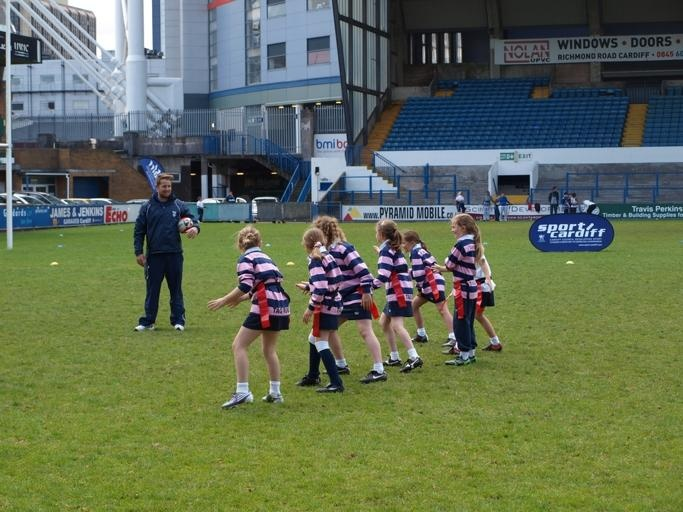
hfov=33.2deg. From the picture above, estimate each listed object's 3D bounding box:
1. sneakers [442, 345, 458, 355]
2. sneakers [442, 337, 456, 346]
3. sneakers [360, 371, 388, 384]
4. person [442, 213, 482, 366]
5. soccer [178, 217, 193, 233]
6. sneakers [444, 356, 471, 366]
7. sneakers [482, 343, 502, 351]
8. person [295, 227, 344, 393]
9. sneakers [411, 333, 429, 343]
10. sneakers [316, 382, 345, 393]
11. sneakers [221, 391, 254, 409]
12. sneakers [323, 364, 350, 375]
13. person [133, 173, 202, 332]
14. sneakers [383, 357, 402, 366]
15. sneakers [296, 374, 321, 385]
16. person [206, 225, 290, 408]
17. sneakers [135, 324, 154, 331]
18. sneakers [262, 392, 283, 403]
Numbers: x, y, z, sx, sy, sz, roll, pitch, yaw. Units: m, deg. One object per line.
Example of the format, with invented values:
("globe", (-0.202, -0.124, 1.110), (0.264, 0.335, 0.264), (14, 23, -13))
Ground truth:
("sneakers", (1.906, 1.643, 19.866), (0.337, 0.141, 0.114), (2, -2, 19))
("sneakers", (1.893, 1.522, 20.087), (0.262, 0.110, 0.090), (2, -2, 33))
("sneakers", (0.551, 1.997, 18.701), (0.463, 0.209, 0.166), (-1, -5, -5))
("person", (2.060, 0.570, 19.267), (0.628, 2.522, 0.401), (-2, 9, -5))
("soccer", (-2.834, -0.586, 20.914), (0.270, 0.219, 0.264), (-18, -31, 5))
("sneakers", (1.972, 1.777, 19.342), (0.431, 0.177, 0.165), (1, -4, 5))
("sneakers", (2.627, 1.589, 19.912), (0.317, 0.142, 0.118), (3, 3, 21))
("person", (-0.331, 0.850, 18.452), (0.709, 2.628, 0.661), (-1, 9, -2))
("sneakers", (1.410, 1.473, 20.356), (0.281, 0.128, 0.113), (3, 3, 44))
("sneakers", (-0.167, 2.131, 18.468), (0.430, 0.170, 0.156), (3, -10, 3))
("sneakers", (-1.592, 2.263, 17.921), (0.550, 0.246, 0.197), (-5, -6, -18))
("sneakers", (-0.052, 1.899, 19.080), (0.491, 0.206, 0.164), (3, -3, -6))
("person", (-3.230, -0.082, 20.951), (1.134, 2.855, 0.583), (-2, 9, -10))
("sneakers", (0.877, 1.802, 19.305), (0.316, 0.133, 0.117), (-1, -5, 23))
("sneakers", (-0.512, 2.039, 18.720), (0.438, 0.193, 0.146), (0, -1, -5))
("person", (-1.339, 0.957, 17.993), (1.046, 2.791, 0.543), (-2, 9, -6))
("sneakers", (-3.579, 1.317, 20.942), (0.352, 0.147, 0.122), (2, -3, -12))
("sneakers", (-1.054, 2.234, 18.135), (0.342, 0.123, 0.145), (2, 19, 19))
